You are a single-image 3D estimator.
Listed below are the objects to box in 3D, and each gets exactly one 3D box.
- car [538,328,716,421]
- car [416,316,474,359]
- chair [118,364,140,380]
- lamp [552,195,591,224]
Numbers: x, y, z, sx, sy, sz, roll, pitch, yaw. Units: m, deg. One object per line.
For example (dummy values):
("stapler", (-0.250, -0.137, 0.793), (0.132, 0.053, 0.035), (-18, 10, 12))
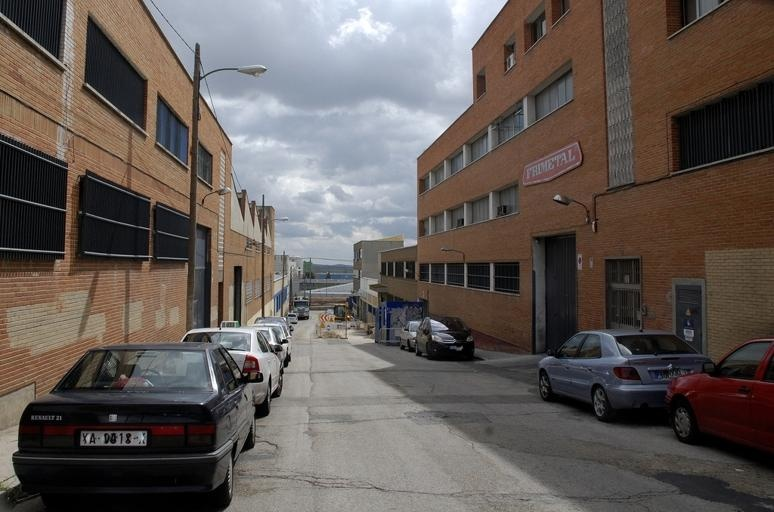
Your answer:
("car", (5.074, 2.638, 12.438), (1.721, 1.363, 3.623), (1, -4, -7))
("car", (2.564, 3.814, 24.338), (1.719, 1.920, 2.972), (7, -11, -30))
("chair", (-3.900, 1.772, 7.787), (0.215, 0.235, 0.400), (10, -11, -12))
("lamp", (6.706, -1.678, 19.134), (1.258, 1.260, 1.994), (0, -10, 8))
